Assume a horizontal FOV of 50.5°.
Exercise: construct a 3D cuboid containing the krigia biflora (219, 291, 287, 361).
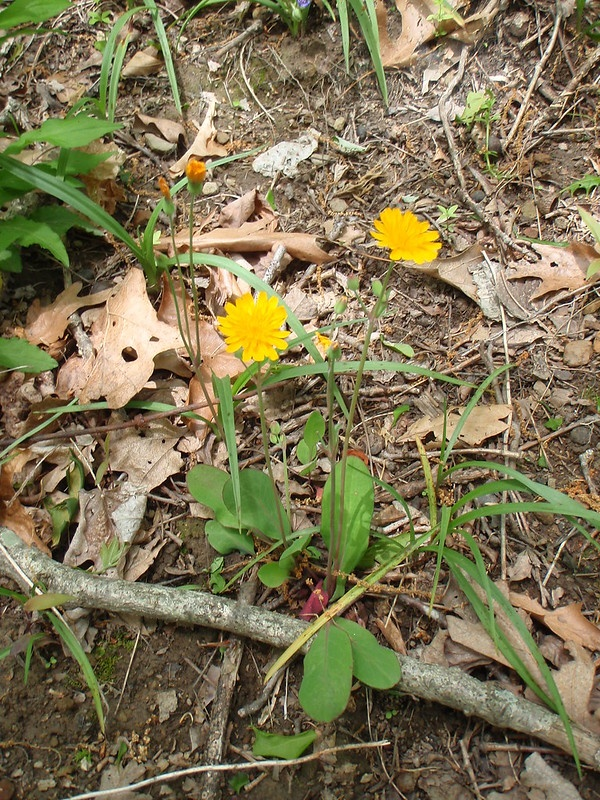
[{"bbox_3d":[-0.094,-0.178,1.416,0.146,0.148,0.041,9,53,-31],"label":"krigia biflora"}]
